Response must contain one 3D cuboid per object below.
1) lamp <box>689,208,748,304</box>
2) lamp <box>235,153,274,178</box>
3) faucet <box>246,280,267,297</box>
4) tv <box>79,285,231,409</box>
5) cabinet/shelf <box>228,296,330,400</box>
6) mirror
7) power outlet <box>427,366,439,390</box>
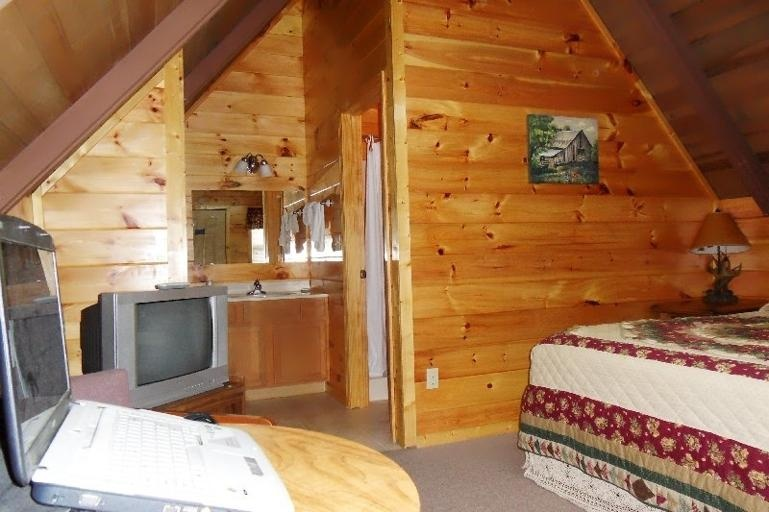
[{"bbox_3d":[2.496,-0.023,4.224,0.380,0.761,0.957,-2,-1,36],"label":"lamp"},{"bbox_3d":[-1.249,-0.877,5.377,0.368,0.151,0.146,-1,0,-12],"label":"lamp"},{"bbox_3d":[-1.133,0.299,5.127,0.223,0.151,0.124,1,-4,-2],"label":"faucet"},{"bbox_3d":[-1.321,0.386,3.099,0.677,0.657,0.860,-2,-2,28],"label":"tv"},{"bbox_3d":[-0.926,0.765,4.757,1.194,0.843,0.551,-1,-1,-23],"label":"cabinet/shelf"},{"bbox_3d":[-1.428,-0.267,5.321,0.961,0.640,0.067,0,-3,-20],"label":"mirror"},{"bbox_3d":[0.316,0.806,3.712,0.086,0.117,0.011,-1,-1,-21],"label":"power outlet"}]
